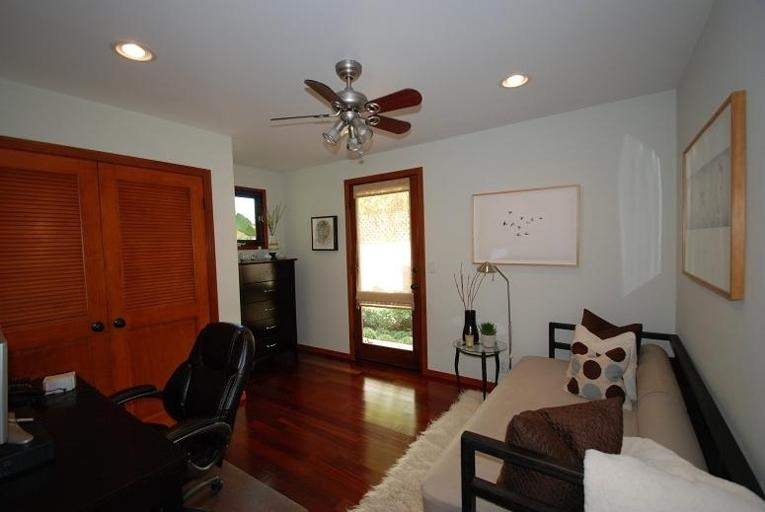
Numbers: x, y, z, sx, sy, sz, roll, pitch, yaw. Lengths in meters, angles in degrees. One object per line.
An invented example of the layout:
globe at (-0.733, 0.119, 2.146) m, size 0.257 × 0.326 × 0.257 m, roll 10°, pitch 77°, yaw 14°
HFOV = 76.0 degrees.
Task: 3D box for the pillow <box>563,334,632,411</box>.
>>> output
pillow at (1.689, 0.837, 3.785) m, size 0.322 × 0.568 × 0.569 m, roll -9°, pitch 6°, yaw -34°

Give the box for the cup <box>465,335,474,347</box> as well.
cup at (0.810, 0.787, 4.546) m, size 0.086 × 0.101 × 0.088 m, roll 0°, pitch -4°, yaw 0°

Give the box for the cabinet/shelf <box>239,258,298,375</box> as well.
cabinet/shelf at (-1.403, 0.624, 5.858) m, size 0.726 × 1.108 × 0.432 m, roll -3°, pitch 1°, yaw -36°

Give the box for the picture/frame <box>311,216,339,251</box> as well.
picture/frame at (-0.746, -0.282, 6.113) m, size 0.046 × 0.405 × 0.409 m, roll 4°, pitch 6°, yaw 39°

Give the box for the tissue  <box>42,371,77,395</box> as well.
tissue  at (-2.113, 0.839, 3.214) m, size 0.220 × 0.155 × 0.120 m, roll 3°, pitch -16°, yaw -44°

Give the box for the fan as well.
fan at (-0.251, -1.044, 3.464) m, size 1.064 × 0.553 × 0.958 m, roll 0°, pitch -5°, yaw -14°

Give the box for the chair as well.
chair at (-1.374, 1.103, 3.263) m, size 0.801 × 1.194 × 0.827 m, roll 11°, pitch 6°, yaw 37°

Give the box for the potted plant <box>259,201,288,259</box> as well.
potted plant at (-1.384, -0.331, 6.232) m, size 0.272 × 0.625 × 0.650 m, roll -4°, pitch 12°, yaw -9°

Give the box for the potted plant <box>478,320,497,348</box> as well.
potted plant at (0.969, 0.748, 4.588) m, size 0.195 × 0.262 × 0.195 m, roll 1°, pitch -6°, yaw -2°

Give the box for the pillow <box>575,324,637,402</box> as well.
pillow at (1.690, 0.824, 3.780) m, size 0.325 × 0.571 × 0.558 m, roll -11°, pitch 9°, yaw -29°
